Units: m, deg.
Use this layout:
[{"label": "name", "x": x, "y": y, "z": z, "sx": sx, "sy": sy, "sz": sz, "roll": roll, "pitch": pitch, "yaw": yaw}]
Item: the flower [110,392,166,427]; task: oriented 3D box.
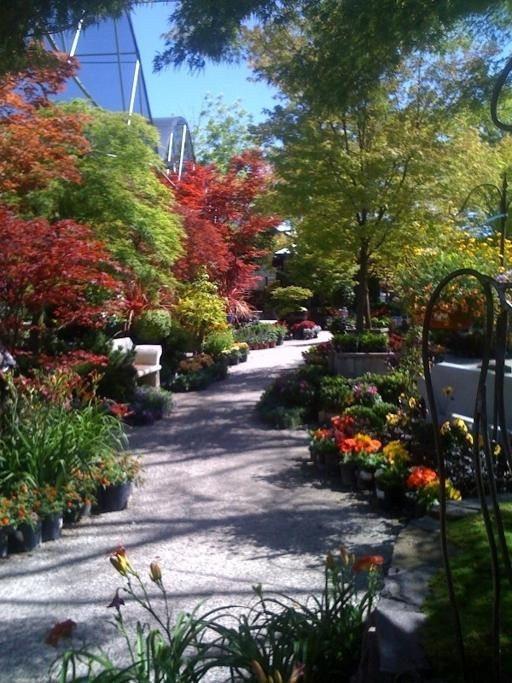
[{"label": "flower", "x": -1.436, "y": 0.860, "z": 7.811, "sx": 0.586, "sy": 0.347, "sz": 0.634, "roll": -3, "pitch": 11, "yaw": 26}]

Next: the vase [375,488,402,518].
[{"label": "vase", "x": 0.964, "y": 1.168, "z": 4.274, "sx": 0.161, "sy": 0.133, "sz": 0.182, "roll": 0, "pitch": 1, "yaw": -4}]

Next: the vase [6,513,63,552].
[{"label": "vase", "x": -1.336, "y": 1.157, "z": 3.584, "sx": 0.150, "sy": 0.187, "sz": 0.446, "roll": -1, "pitch": -3, "yaw": 18}]
